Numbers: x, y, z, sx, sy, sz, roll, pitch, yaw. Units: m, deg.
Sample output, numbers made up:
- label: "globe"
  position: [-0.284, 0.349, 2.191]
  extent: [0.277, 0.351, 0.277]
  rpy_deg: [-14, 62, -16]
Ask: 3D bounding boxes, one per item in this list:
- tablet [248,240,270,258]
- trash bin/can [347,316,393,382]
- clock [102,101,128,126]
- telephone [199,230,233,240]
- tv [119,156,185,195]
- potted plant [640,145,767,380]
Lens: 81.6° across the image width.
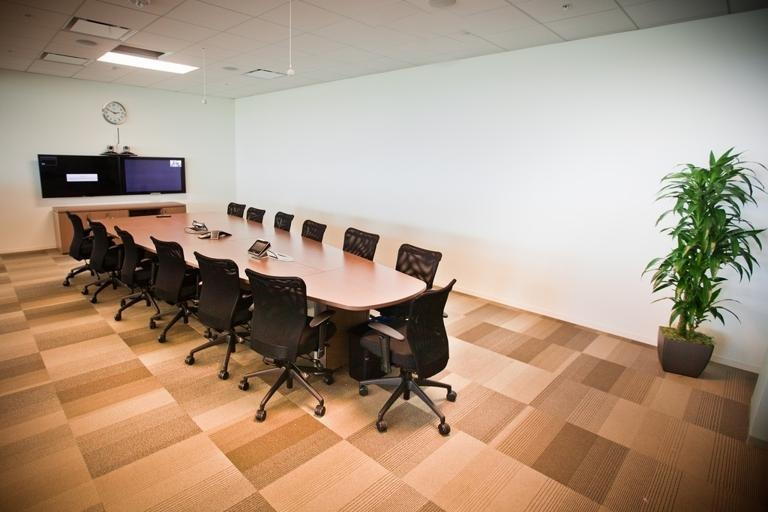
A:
- label: "tablet"
  position: [-1.624, -0.109, 5.873]
  extent: [0.249, 0.170, 0.254]
  rpy_deg: [13, 21, 40]
- label: "trash bin/can"
  position: [-0.191, 1.099, 5.047]
  extent: [0.375, 0.704, 0.864]
  rpy_deg: [-2, 13, -13]
- label: "clock"
  position: [-5.769, -3.045, 9.470]
  extent: [0.083, 0.576, 0.553]
  rpy_deg: [12, 14, 42]
- label: "telephone"
  position: [-2.524, -0.325, 6.719]
  extent: [0.222, 0.076, 0.295]
  rpy_deg: [7, 13, 15]
- label: "tv"
  position: [-5.235, -1.833, 10.145]
  extent: [1.306, 0.814, 0.062]
  rpy_deg: [-10, 18, -41]
- label: "potted plant"
  position: [3.842, 0.061, 5.435]
  extent: [1.160, 2.698, 0.902]
  rpy_deg: [-3, 14, -15]
